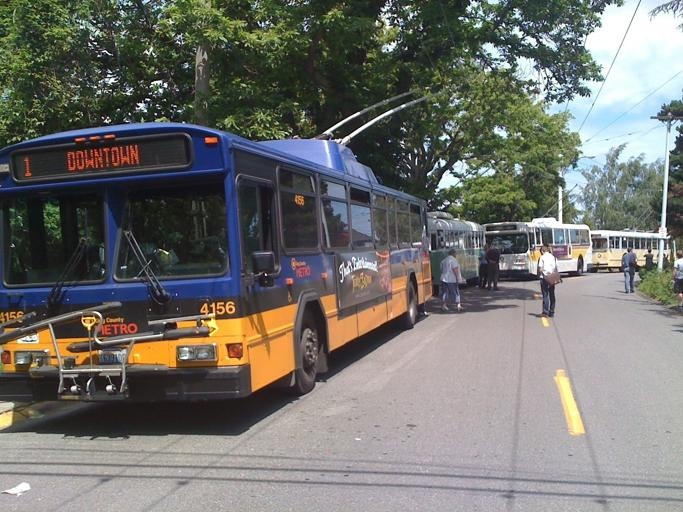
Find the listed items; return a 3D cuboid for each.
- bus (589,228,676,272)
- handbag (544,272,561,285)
[{"bbox_3d":[21.074,-0.384,45.332,9.480,2.815,2.922,4,-7,-38],"label":"bus"},{"bbox_3d":[5.918,0.627,17.520,0.348,0.272,0.122,-21,-4,21],"label":"handbag"}]
